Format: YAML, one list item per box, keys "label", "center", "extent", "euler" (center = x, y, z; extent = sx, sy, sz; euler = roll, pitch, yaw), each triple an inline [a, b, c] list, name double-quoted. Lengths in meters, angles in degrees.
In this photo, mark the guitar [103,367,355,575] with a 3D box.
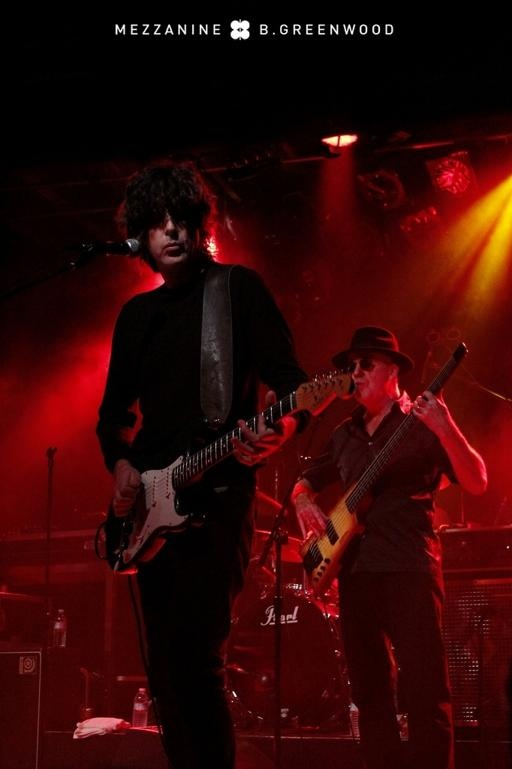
- label: "guitar"
  center: [-0.160, 0.279, 2.124]
  extent: [0.305, 0.503, 0.956]
  euler: [9, -17, -44]
